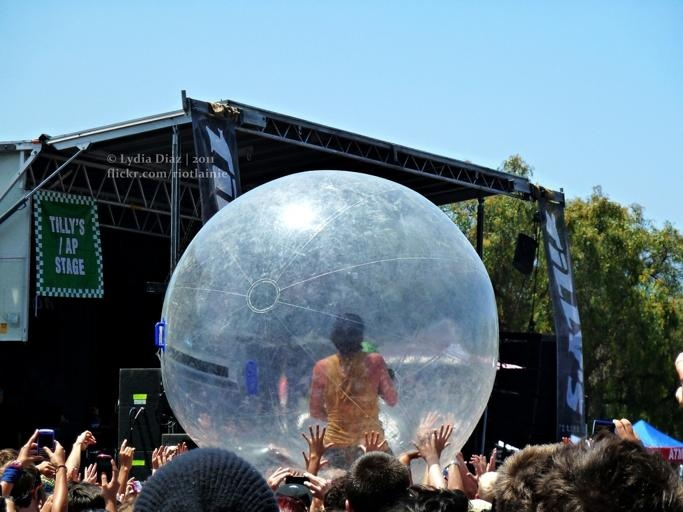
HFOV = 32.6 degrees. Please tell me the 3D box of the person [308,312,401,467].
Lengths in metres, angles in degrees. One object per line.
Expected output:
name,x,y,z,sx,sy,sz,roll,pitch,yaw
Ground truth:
person,0.131,2.276,16.375,1.099,3.272,0.947,-2,19,-3
